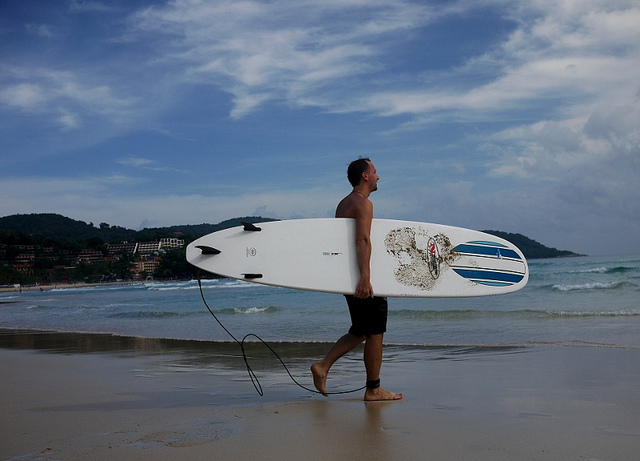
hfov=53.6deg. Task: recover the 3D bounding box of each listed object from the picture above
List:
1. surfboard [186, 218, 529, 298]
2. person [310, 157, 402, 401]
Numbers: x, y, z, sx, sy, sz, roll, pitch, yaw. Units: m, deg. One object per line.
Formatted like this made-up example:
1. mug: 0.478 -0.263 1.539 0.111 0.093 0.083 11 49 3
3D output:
1. surfboard: 0.464 0.304 6.606 3.456 0.849 0.871 -5 0 -18
2. person: 0.302 0.488 6.182 0.753 2.298 0.449 -6 1 5
